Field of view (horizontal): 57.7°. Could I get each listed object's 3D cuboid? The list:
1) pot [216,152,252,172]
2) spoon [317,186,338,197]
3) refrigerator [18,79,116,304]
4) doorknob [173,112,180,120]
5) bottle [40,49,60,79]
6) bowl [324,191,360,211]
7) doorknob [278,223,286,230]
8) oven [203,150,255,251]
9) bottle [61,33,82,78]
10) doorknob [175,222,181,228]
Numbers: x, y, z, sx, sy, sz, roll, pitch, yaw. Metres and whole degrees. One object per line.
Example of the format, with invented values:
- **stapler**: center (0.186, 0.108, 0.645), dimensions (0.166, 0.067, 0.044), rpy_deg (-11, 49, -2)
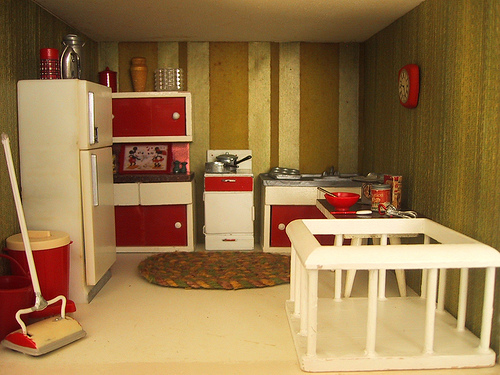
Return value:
- **pot**: center (-0.229, -0.318, 5.788), dimensions (0.352, 0.176, 0.225), rpy_deg (2, 6, 2)
- **spoon**: center (0.839, 0.042, 4.886), dimensions (0.223, 0.029, 0.029), rpy_deg (24, 26, -16)
- **refrigerator**: center (-1.630, 0.035, 4.228), dimensions (0.921, 2.043, 0.554), rpy_deg (-13, 16, -30)
- **doorknob**: center (-0.931, -0.888, 5.654), dimensions (0.088, 0.085, 0.023), rpy_deg (0, 6, -7)
- **bottle**: center (-1.885, -1.121, 4.170), dimensions (0.217, 0.267, 0.137), rpy_deg (-2, 14, 13)
- **bowl**: center (0.843, 0.120, 4.161), dimensions (0.301, 0.203, 0.275), rpy_deg (-4, 13, 1)
- **doorknob**: center (0.383, 0.483, 5.532), dimensions (0.080, 0.089, 0.034), rpy_deg (-4, 14, 4)
- **oven**: center (-0.262, 0.201, 5.862), dimensions (0.691, 1.128, 0.621), rpy_deg (-2, 1, 2)
- **bottle**: center (-1.664, -1.205, 4.213), dimensions (0.101, 0.376, 0.229), rpy_deg (8, 18, 42)
- **doorknob**: center (-0.897, 0.463, 5.598), dimensions (0.076, 0.074, 0.018), rpy_deg (-2, 2, -2)
